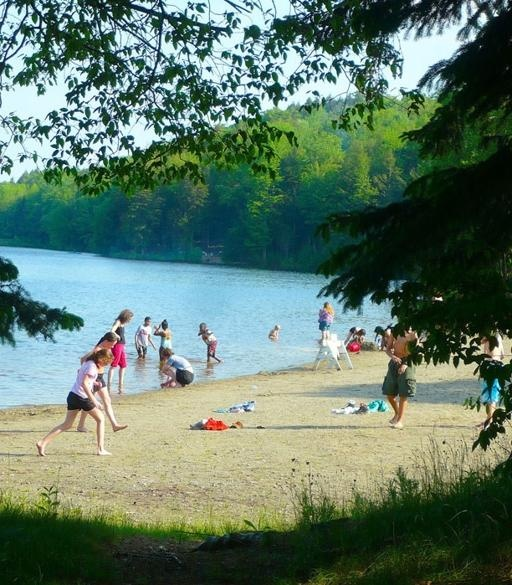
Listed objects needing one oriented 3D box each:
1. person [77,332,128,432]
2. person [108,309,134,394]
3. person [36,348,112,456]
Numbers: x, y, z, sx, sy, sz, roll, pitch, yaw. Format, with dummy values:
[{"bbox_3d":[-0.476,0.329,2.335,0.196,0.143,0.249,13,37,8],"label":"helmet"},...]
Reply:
[{"bbox_3d":[-2.329,1.370,15.752,0.911,1.626,0.619,5,10,11],"label":"person"},{"bbox_3d":[-2.806,1.151,21.089,0.695,1.679,0.707,1,-10,-2],"label":"person"},{"bbox_3d":[-2.476,1.519,14.090,0.915,1.463,0.431,0,0,-11],"label":"person"}]
